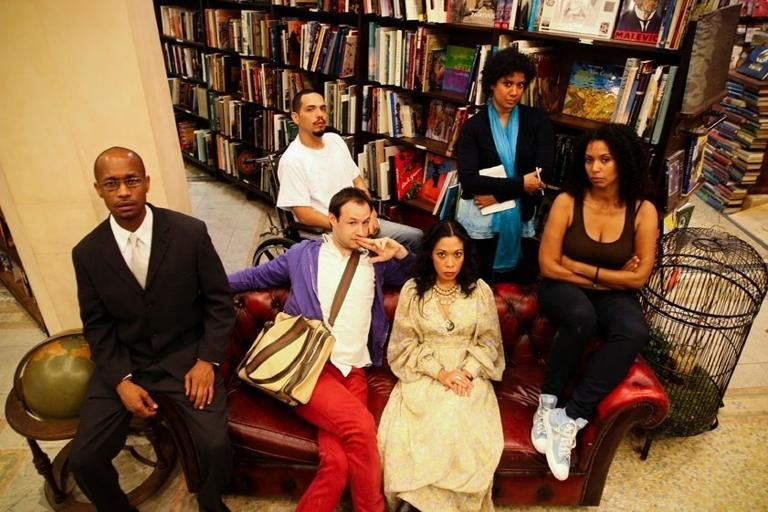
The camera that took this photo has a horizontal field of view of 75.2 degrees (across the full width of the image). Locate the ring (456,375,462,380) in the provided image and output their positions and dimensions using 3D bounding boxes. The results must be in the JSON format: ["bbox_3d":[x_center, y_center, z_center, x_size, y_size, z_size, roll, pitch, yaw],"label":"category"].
[{"bbox_3d":[0.463,0.753,3.096,0.014,0.030,0.053,-9,-11,32],"label":"ring"}]

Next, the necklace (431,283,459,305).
[{"bbox_3d":[0.391,0.249,3.224,0.148,0.060,0.111,-1,53,2],"label":"necklace"}]

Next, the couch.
[{"bbox_3d":[0.204,1.474,4.031,3.619,1.430,1.224,0,50,1],"label":"couch"}]

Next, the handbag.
[{"bbox_3d":[-0.557,0.609,3.077,0.543,0.204,0.560,9,57,27],"label":"handbag"}]

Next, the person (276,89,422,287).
[{"bbox_3d":[-0.273,-0.486,4.149,1.298,1.700,0.979,20,34,34],"label":"person"}]
